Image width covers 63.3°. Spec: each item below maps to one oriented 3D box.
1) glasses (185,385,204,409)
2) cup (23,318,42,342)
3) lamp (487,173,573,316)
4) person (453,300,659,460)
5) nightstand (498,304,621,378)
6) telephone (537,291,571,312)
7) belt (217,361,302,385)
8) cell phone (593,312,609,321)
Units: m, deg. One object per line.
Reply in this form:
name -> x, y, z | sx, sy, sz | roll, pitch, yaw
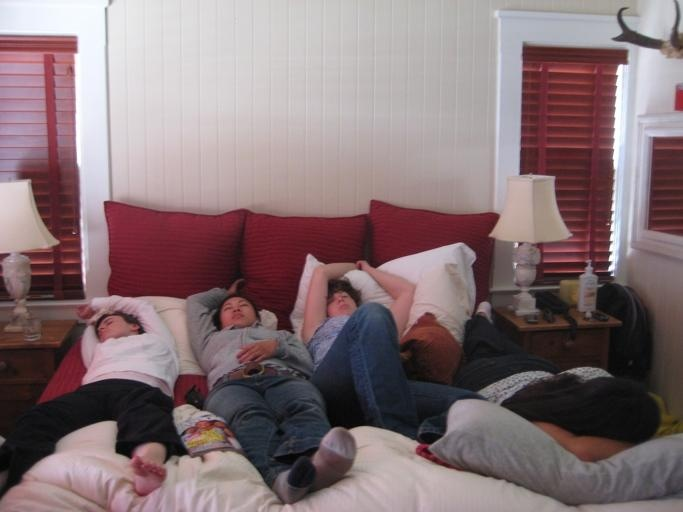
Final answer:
glasses -> -0.671, 0.636, 2.505 | 0.076, 0.029, 0.080 | -7, 36, -22
cup -> -1.636, 0.390, 2.910 | 0.094, 0.110, 0.120 | 2, 1, -13
lamp -> 1.103, -0.059, 3.234 | 0.407, 0.825, 0.394 | 6, 12, 33
person -> 0.819, 0.466, 2.288 | 0.689, 0.286, 0.831 | -16, 27, -25
nightstand -> 1.280, 0.540, 3.363 | 0.487, 0.539, 0.376 | -2, 15, -6
telephone -> 1.273, 0.276, 3.374 | 0.097, 0.048, 0.151 | -3, 15, -10
belt -> -0.378, 0.525, 2.510 | 0.226, 0.054, 0.154 | 3, 14, -13
cell phone -> 1.516, 0.352, 3.258 | 0.043, 0.018, 0.078 | 1, 10, 9
